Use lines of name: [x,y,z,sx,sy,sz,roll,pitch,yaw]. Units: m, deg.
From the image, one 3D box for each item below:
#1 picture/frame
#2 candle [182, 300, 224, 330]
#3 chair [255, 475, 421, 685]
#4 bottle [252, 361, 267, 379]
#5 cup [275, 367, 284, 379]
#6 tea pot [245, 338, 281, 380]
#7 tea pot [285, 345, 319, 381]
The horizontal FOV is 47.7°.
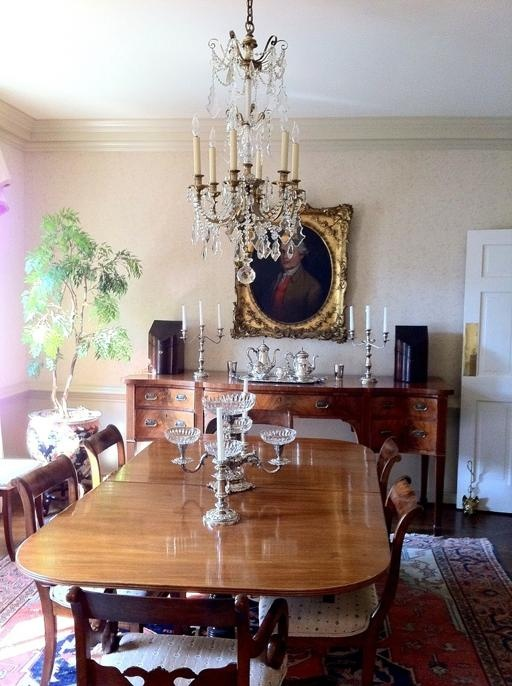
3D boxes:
picture/frame: [0.310,-0.501,4.104,1.185,1.225,0.116,1,4,8]
candle: [-0.427,-0.242,4.703,0.275,0.257,0.065,1,14,10]
chair: [0.327,0.825,2.424,0.754,0.980,0.624,1,3,7]
bottle: [0.028,0.207,4.317,0.126,0.140,0.121,0,-3,1]
cup: [0.188,0.224,4.281,0.073,0.078,0.065,-1,4,11]
tea pot: [0.052,0.140,4.501,0.339,0.349,0.210,-3,11,-19]
tea pot: [0.364,0.156,4.459,0.250,0.243,0.125,3,13,14]
